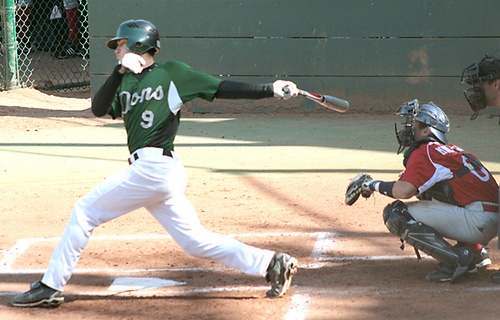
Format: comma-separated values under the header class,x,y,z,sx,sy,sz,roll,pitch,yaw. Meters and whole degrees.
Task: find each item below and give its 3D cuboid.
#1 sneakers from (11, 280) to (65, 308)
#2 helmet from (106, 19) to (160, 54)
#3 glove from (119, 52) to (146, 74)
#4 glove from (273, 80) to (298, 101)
class,x,y,z,sx,sy,sz,roll,pitch,yaw
sneakers,-2.470,1.566,8.597,0.723,0.261,0.286,-6,-2,15
helmet,-1.298,-1.459,8.605,0.718,0.361,0.453,3,12,17
glove,-1.321,-1.094,8.249,0.293,0.212,0.077,30,-16,29
glove,0.408,-0.807,8.411,0.303,0.208,0.195,1,16,-6
